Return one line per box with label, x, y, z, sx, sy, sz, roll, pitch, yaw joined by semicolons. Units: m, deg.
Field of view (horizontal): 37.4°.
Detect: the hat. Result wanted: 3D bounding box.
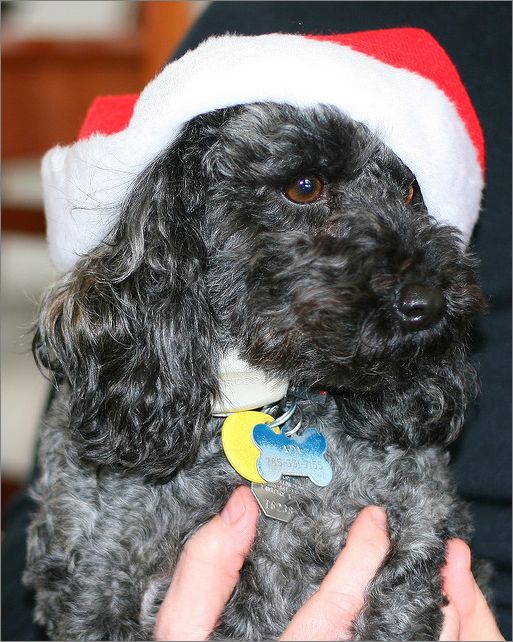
hat;-0.020;-0.376;1.520;0.756;0.539;0.269;-11;77;30
